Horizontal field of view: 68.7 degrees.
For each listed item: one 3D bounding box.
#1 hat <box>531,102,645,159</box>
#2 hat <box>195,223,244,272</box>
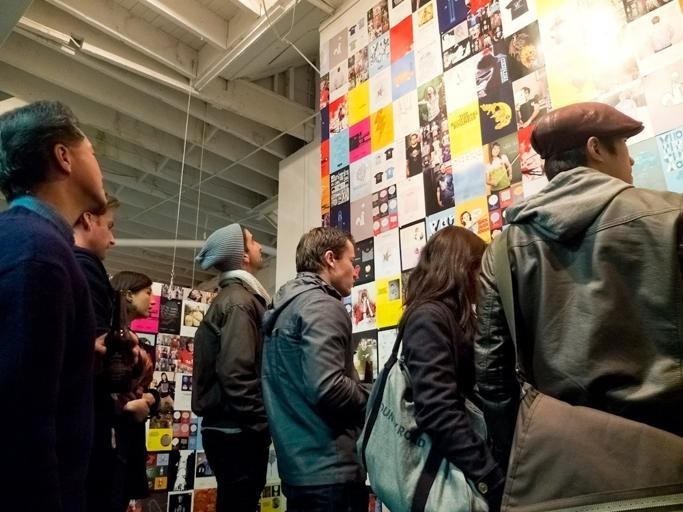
[{"bbox_3d":[0.846,-0.449,1.741,0.283,0.123,0.212,-18,12,11],"label":"hat"},{"bbox_3d":[-0.792,-0.054,3.295,0.324,0.255,0.258,-28,25,-19],"label":"hat"}]
